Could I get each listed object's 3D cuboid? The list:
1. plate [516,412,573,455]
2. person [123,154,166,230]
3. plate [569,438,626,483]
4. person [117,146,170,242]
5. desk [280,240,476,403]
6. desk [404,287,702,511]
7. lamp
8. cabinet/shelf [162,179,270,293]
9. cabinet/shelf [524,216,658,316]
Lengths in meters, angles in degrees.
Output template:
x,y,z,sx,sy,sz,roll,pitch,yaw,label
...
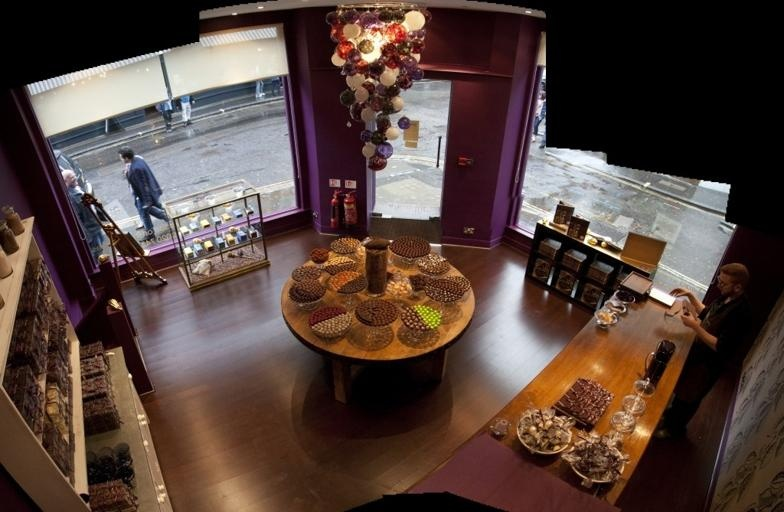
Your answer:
x,y,z,sx,sy,sz,roll,pitch,yaw,label
1.118,1.294,3.497,0.360,0.104,0.358,14,33,20,plate
-3.487,-0.933,6.626,0.428,1.048,0.397,3,56,-15,person
1.414,1.434,3.313,0.319,0.105,0.312,-21,38,-32,plate
-3.491,-0.923,6.611,0.505,1.341,0.500,-5,57,-23,person
-0.187,0.827,5.662,1.981,0.750,1.903,-2,42,-5,desk
1.443,1.300,4.232,0.656,0.512,2.096,34,54,30,desk
-0.157,-1.822,5.161,0.954,1.708,1.635,-1,32,-4,lamp
-2.628,-0.273,6.893,1.339,1.256,0.542,-22,41,-29,cabinet/shelf
2.612,0.132,6.125,1.174,0.747,0.380,29,43,34,cabinet/shelf
